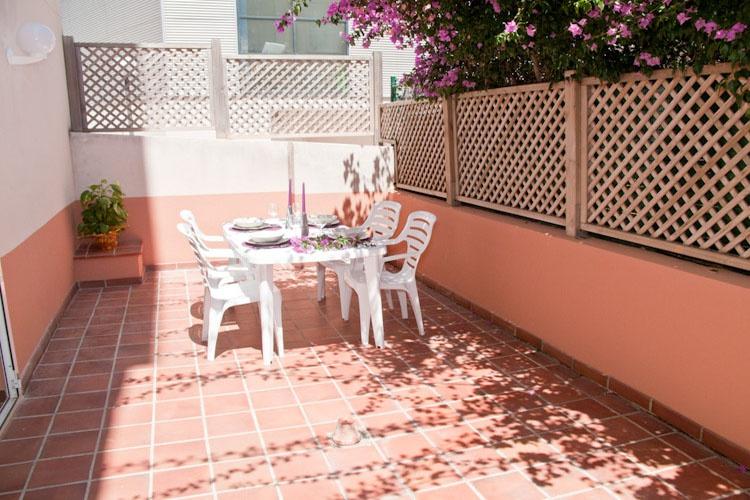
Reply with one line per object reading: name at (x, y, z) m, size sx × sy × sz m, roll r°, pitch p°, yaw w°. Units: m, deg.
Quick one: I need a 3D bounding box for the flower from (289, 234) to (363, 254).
flower at (-0.458, -0.071, 4.482) m, size 0.689 × 0.083 × 0.315 m, roll -5°, pitch 19°, yaw -13°

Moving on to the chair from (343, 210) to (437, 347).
chair at (0.108, 0.283, 5.044) m, size 0.903 × 1.274 × 0.802 m, roll -3°, pitch 14°, yaw -9°

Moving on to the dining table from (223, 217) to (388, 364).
dining table at (-0.688, 0.020, 4.673) m, size 1.192 × 0.889 × 1.847 m, roll -5°, pitch 13°, yaw -21°

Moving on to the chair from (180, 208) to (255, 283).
chair at (-1.954, -0.049, 5.695) m, size 0.722 × 0.937 × 0.624 m, roll -6°, pitch 37°, yaw -8°

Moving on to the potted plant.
potted plant at (-3.761, -0.496, 6.397) m, size 0.595 × 0.942 × 0.649 m, roll -13°, pitch 22°, yaw -31°

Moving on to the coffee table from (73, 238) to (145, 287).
coffee table at (-3.557, 0.206, 6.311) m, size 0.638 × 0.396 × 0.635 m, roll -3°, pitch 11°, yaw -22°
